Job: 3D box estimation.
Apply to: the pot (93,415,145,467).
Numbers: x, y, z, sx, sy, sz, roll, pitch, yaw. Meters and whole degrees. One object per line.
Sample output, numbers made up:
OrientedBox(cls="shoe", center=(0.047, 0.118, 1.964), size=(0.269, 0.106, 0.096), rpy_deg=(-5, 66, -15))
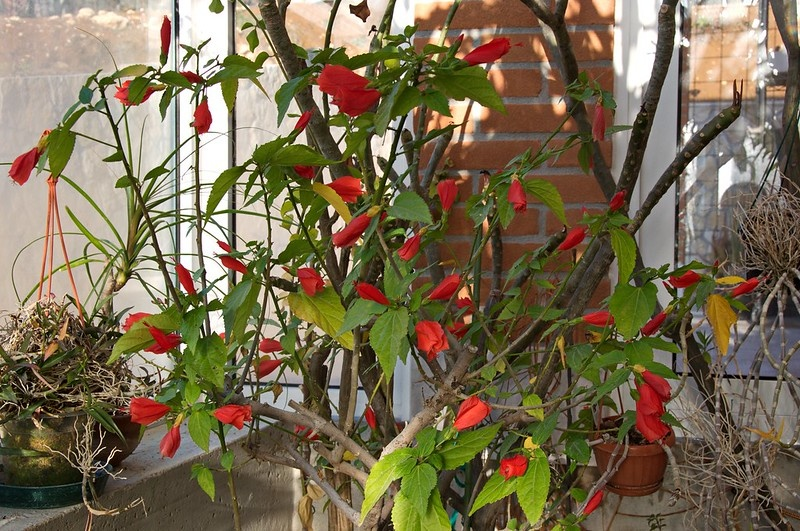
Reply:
OrientedBox(cls="pot", center=(-0.595, 0.372, 1.841), size=(0.103, 0.086, 0.110), rpy_deg=(-2, -9, 0))

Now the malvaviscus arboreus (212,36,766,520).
OrientedBox(cls="malvaviscus arboreus", center=(0.112, 0.096, 2.072), size=(1.076, 1.276, 1.028), rpy_deg=(0, 8, 7))

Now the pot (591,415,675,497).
OrientedBox(cls="pot", center=(0.545, 0.459, 2.005), size=(0.187, 0.108, 0.202), rpy_deg=(-2, 0, 0))
